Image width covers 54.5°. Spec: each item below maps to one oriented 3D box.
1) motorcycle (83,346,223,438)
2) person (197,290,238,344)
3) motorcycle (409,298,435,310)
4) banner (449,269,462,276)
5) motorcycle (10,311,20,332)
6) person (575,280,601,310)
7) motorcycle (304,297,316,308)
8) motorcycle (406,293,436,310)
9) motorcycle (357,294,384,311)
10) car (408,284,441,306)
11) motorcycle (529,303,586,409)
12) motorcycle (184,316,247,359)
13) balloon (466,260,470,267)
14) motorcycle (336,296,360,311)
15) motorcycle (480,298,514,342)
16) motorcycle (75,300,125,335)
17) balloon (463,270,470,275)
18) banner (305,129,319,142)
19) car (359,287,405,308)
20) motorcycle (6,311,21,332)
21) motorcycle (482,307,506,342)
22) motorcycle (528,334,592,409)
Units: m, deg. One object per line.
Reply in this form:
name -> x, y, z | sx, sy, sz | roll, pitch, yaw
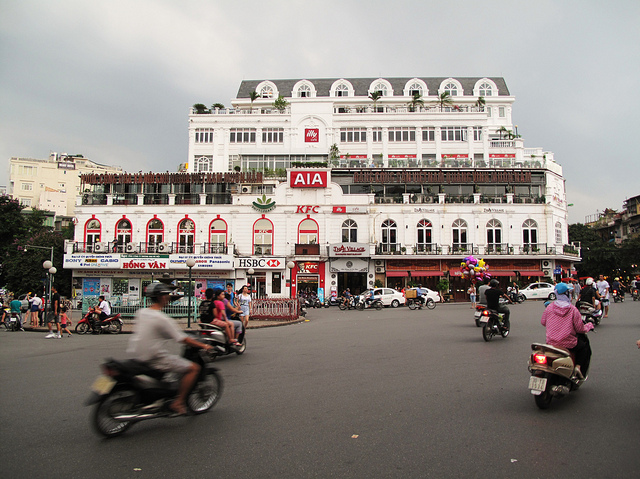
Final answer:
motorcycle -> -3.290, 2.805, 12.307 | 2.619, 1.631, 1.270 | -1, 4, -36
person -> -2.895, 2.155, 17.708 | 0.814, 1.012, 1.548 | -3, -7, 21
motorcycle -> 6.309, 3.977, 38.675 | 1.282, 0.853, 0.746 | -3, -2, 2
banner -> 10.727, 2.691, 49.238 | 0.762, 0.587, 2.897 | 0, 4, 8
motorcycle -> -13.802, 3.659, 28.062 | 0.431, 0.842, 0.241 | -1, 4, -6
person -> 9.519, 1.893, 22.354 | 0.809, 0.967, 1.531 | -1, 6, 29
motorcycle -> -0.710, 4.420, 42.736 | 0.391, 0.710, 2.104 | 0, 4, 8
motorcycle -> 6.312, 3.903, 38.769 | 1.358, 0.908, 0.795 | -2, 0, -2
motorcycle -> 3.167, 4.057, 40.081 | 1.352, 0.856, 0.790 | 2, -16, -3
car -> 6.846, 3.614, 41.022 | 1.905, 1.323, 0.992 | -2, -9, 12
motorcycle -> 4.730, 2.390, 12.678 | 1.415, 1.871, 0.685 | -5, 5, -44
motorcycle -> -2.804, 2.662, 17.179 | 0.931, 1.288, 2.165 | -5, -9, 22
balloon -> 7.977, 1.260, 33.547 | 0.234, 0.311, 0.433 | 7, 4, 8
motorcycle -> 1.883, 4.082, 40.561 | 1.349, 0.851, 0.752 | -4, -11, 22
motorcycle -> 5.537, 2.722, 20.058 | 0.553, 1.024, 1.371 | 2, 5, 36
motorcycle -> -9.332, 3.336, 26.295 | 1.950, 1.334, 0.901 | 1, -6, -16
balloon -> 7.947, 1.785, 33.702 | 0.274, 0.156, 0.282 | 1, -1, 27
banner -> -0.818, -10.493, 62.966 | 1.296, 1.150, 0.187 | -1, -9, 1
car -> 4.514, 3.883, 41.656 | 2.573, 0.937, 1.270 | 3, -5, -17
motorcycle -> -13.828, 3.658, 28.040 | 0.471, 0.570, 0.910 | 4, -26, -29
motorcycle -> 5.510, 2.680, 20.034 | 0.498, 1.020, 1.306 | 2, 5, 36
motorcycle -> 4.874, 2.714, 12.786 | 0.834, 1.151, 1.867 | -3, -6, 37
